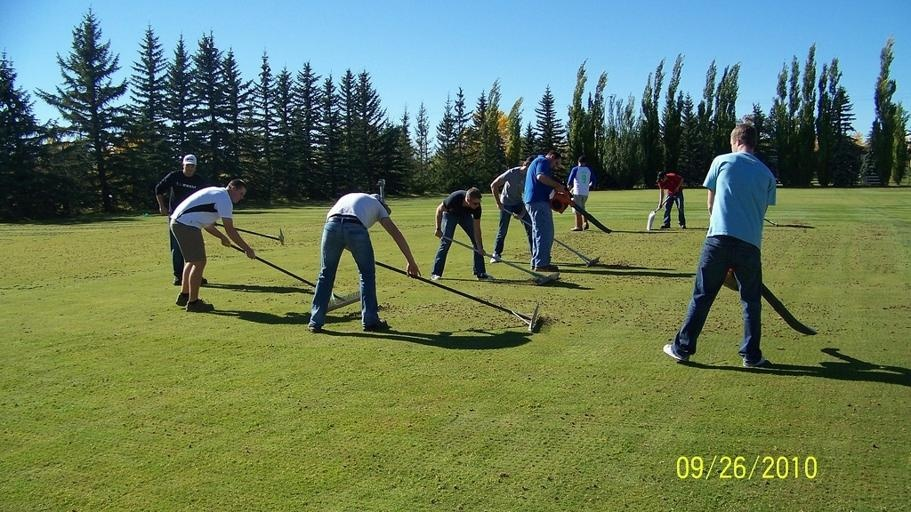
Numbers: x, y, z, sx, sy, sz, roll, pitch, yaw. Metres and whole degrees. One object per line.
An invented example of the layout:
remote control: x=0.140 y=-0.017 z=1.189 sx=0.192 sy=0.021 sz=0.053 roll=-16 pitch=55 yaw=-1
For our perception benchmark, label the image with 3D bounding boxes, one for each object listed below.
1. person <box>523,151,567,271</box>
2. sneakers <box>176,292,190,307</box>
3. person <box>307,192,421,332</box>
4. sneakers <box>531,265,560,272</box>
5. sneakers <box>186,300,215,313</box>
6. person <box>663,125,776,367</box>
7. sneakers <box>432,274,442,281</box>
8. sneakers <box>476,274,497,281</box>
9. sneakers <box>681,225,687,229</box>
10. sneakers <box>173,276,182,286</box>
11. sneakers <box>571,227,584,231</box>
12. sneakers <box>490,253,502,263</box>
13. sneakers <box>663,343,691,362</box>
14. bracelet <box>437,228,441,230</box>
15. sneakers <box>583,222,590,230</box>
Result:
person: x=1.895 y=-0.960 z=13.828 sx=0.830 sy=2.576 sz=0.871 roll=1 pitch=10 yaw=8
sneakers: x=-4.852 y=0.775 z=11.441 sx=0.315 sy=0.259 sz=0.179 roll=2 pitch=0 yaw=-4
person: x=-1.560 y=0.094 z=10.268 sx=1.586 sy=2.143 sz=0.656 roll=-2 pitch=10 yaw=-12
sneakers: x=1.989 y=0.275 z=13.978 sx=0.617 sy=0.219 sz=0.208 roll=-2 pitch=0 yaw=-6
sneakers: x=-4.398 y=0.869 z=11.179 sx=0.492 sy=0.200 sz=0.198 roll=0 pitch=2 yaw=-15
person: x=3.865 y=-0.182 z=9.032 sx=1.209 sy=3.348 sz=1.119 roll=5 pitch=11 yaw=28
sneakers: x=-0.380 y=0.443 z=13.378 sx=0.096 sy=0.082 sz=0.210 roll=0 pitch=-4 yaw=-34
sneakers: x=0.648 y=0.441 z=13.411 sx=0.374 sy=0.134 sz=0.140 roll=-2 pitch=-3 yaw=10
sneakers: x=7.231 y=-0.922 z=20.298 sx=0.141 sy=0.086 sz=0.080 roll=-14 pitch=-24 yaw=3
sneakers: x=-5.529 y=0.506 z=12.824 sx=0.192 sy=0.166 sz=0.184 roll=-1 pitch=-19 yaw=-5
sneakers: x=3.790 y=-0.832 z=19.883 sx=0.365 sy=0.136 sz=0.136 roll=2 pitch=4 yaw=15
sneakers: x=0.901 y=0.066 z=14.115 sx=0.272 sy=0.233 sz=0.179 roll=-1 pitch=2 yaw=5
sneakers: x=3.127 y=1.368 z=9.125 sx=0.176 sy=0.170 sz=0.407 roll=-40 pitch=42 yaw=-18
bracelet: x=-0.328 y=-0.545 z=13.038 sx=0.015 sy=0.054 sz=0.053 roll=5 pitch=-42 yaw=-35
sneakers: x=4.131 y=-0.924 z=20.129 sx=0.193 sy=0.227 sz=0.246 roll=-2 pitch=-6 yaw=6
